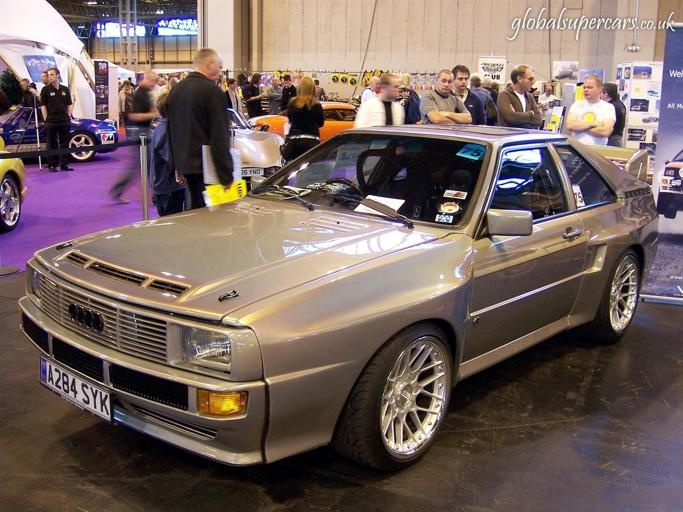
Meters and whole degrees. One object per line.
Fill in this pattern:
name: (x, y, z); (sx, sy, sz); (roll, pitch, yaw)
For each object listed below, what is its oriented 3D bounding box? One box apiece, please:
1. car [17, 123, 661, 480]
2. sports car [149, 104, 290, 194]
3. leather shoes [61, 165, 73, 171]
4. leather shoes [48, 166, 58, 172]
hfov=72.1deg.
car: (0.453, 0.107, 3.206); (3.910, 1.370, 2.106); (-13, 19, -42)
sports car: (-1.695, -1.873, 8.234); (1.584, 1.201, 3.145); (-7, 14, -27)
leather shoes: (-7.194, -2.287, 12.239); (0.276, 0.126, 0.103); (0, 28, -8)
leather shoes: (-7.348, -2.205, 11.926); (0.113, 0.106, 0.268); (8, 3, -26)
